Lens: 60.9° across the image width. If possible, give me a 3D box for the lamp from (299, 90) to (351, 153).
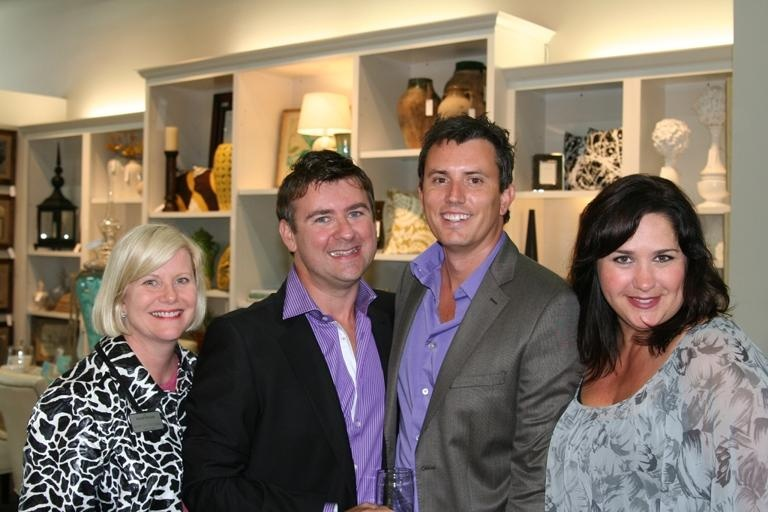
[{"bbox_3d":[-0.396,-0.894,4.428,0.409,0.390,0.298,0,2,8],"label":"lamp"}]
